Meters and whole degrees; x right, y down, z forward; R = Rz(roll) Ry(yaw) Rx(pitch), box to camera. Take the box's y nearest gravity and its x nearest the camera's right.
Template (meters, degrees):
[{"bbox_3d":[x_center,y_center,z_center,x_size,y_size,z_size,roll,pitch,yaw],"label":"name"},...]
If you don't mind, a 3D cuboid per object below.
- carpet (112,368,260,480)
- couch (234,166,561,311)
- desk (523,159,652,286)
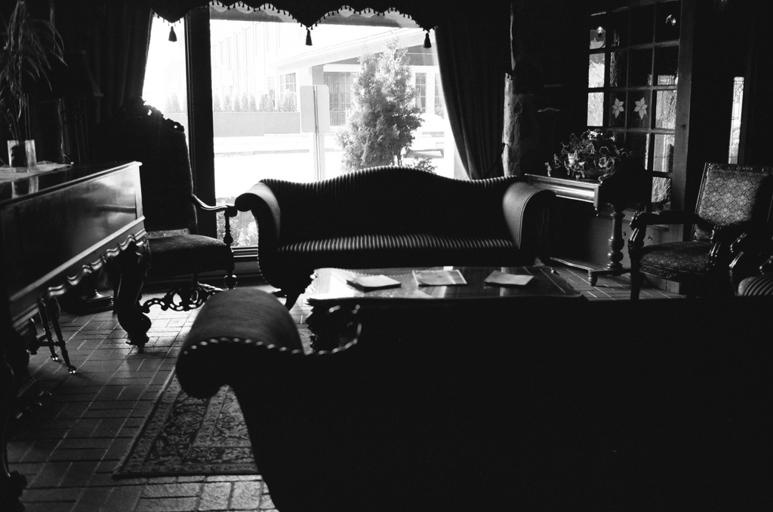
[{"bbox_3d":[-1.068,0.789,3.130,0.441,0.014,0.850,0,19,-7],"label":"carpet"},{"bbox_3d":[0.061,-0.156,5.345,2.572,1.186,0.847,-1,9,-2],"label":"couch"},{"bbox_3d":[1.903,-0.346,5.555,0.432,0.915,1.141,-3,9,-17],"label":"desk"}]
